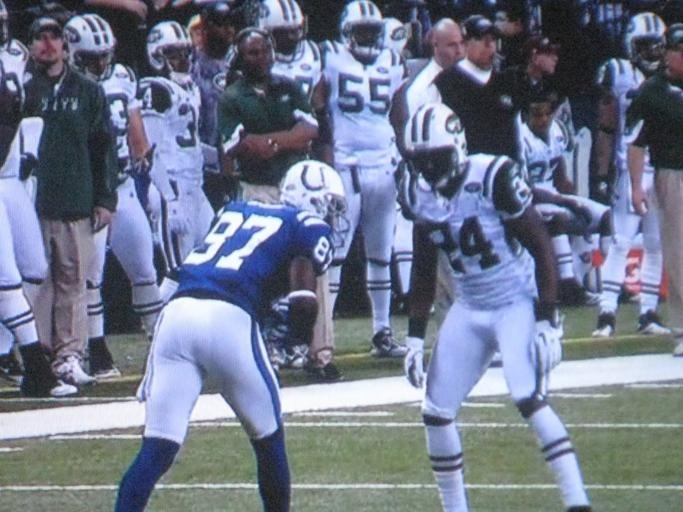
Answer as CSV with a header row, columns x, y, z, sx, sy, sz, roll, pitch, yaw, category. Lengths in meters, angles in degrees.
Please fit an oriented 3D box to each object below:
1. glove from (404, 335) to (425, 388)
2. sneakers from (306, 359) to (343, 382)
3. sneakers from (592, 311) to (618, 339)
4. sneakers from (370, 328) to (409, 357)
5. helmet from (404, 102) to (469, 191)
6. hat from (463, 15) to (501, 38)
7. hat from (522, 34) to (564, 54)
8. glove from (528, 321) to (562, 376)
x,y,z,sx,sy,sz,roll,pitch,yaw,category
0.439,0.667,8.969,0.162,0.295,0.096,-11,1,-35,glove
-0.140,0.882,10.904,0.192,0.141,0.067,-23,1,39,sneakers
2.228,0.605,12.165,0.109,0.304,0.127,12,24,13,sneakers
0.382,0.728,11.694,0.316,0.222,0.159,-3,-2,33,sneakers
0.545,-0.632,8.958,0.448,0.687,0.475,-6,-2,8,helmet
1.019,-1.642,10.510,0.223,0.126,0.170,2,9,36,hat
1.645,-1.732,11.909,0.396,0.212,0.290,3,6,2,hat
1.206,0.557,8.483,0.165,0.310,0.118,-1,-10,30,glove
